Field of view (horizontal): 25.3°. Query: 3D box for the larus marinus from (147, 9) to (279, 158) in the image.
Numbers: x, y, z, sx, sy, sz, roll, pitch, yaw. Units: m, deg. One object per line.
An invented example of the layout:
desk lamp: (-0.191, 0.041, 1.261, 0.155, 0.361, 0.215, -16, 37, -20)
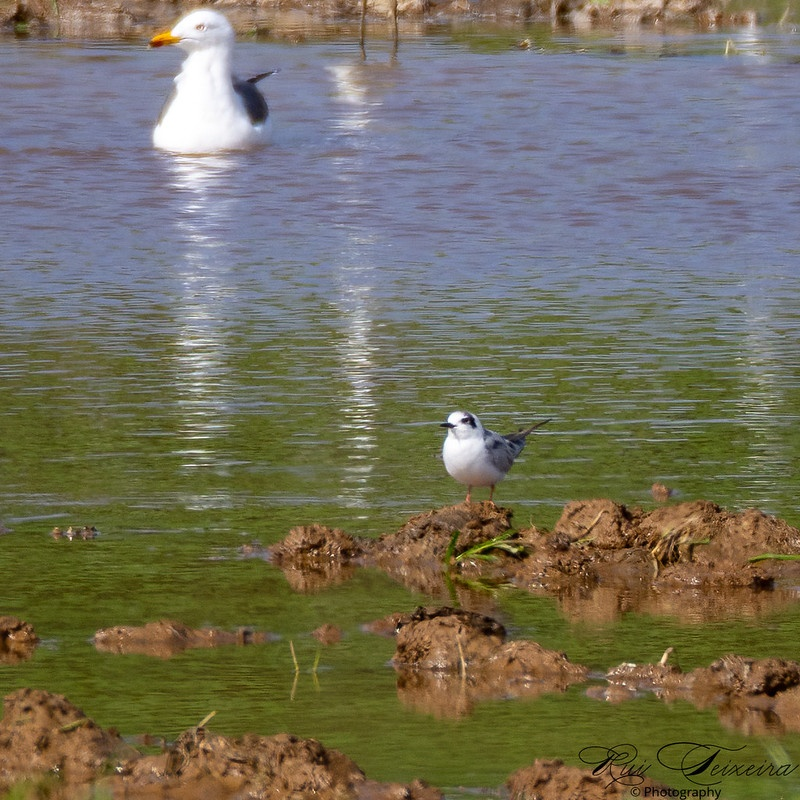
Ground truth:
larus marinus: (-2.683, -4.265, 24.488, 2.101, 1.996, 2.067, -3, 33, -9)

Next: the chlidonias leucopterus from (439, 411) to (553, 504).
chlidonias leucopterus: (0.491, 0.355, 10.968, 0.413, 0.634, 0.655, 4, 11, 9)
